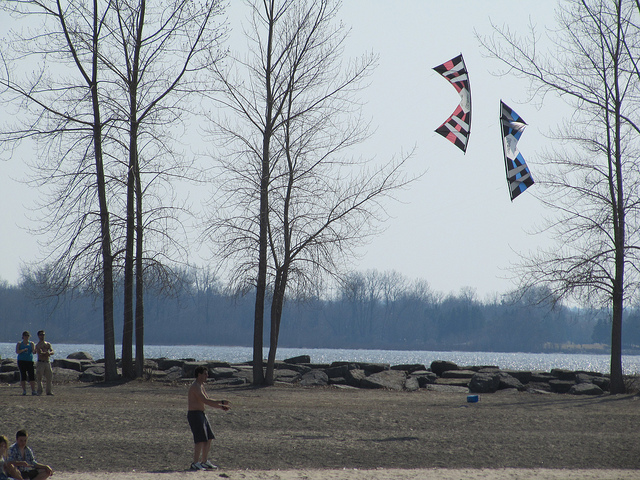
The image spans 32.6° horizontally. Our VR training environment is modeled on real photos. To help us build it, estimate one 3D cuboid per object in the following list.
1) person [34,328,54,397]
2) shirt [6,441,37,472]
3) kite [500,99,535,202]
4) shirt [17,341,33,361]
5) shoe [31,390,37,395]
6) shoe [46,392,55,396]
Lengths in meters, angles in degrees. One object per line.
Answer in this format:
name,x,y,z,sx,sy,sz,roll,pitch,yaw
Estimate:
person,-13.385,6.070,53.589,0.890,3.175,1.517,1,-7,-12
shirt,-12.135,8.760,44.676,1.425,1.823,0.868,3,-10,-24
kite,8.792,-3.876,49.278,1.206,4.534,3.951,-2,-8,11
shirt,-14.197,5.516,53.265,0.793,1.387,0.722,3,-15,-14
shoe,-13.774,7.428,53.213,0.166,0.283,0.081,28,13,31
shoe,-13.023,7.472,53.328,0.299,0.161,0.431,1,-10,-14
